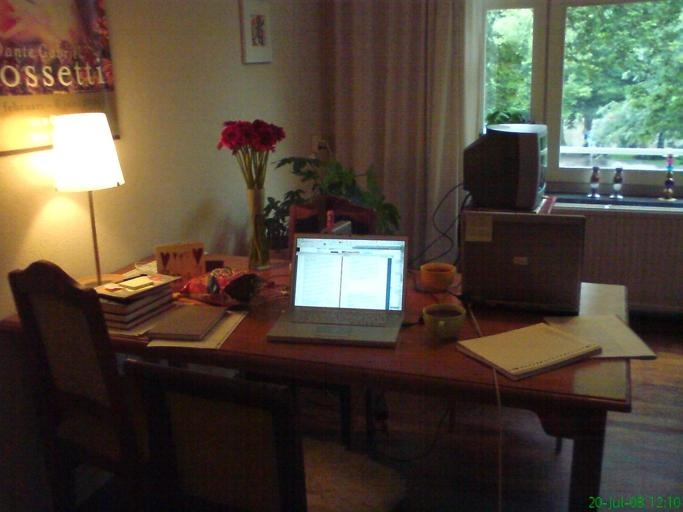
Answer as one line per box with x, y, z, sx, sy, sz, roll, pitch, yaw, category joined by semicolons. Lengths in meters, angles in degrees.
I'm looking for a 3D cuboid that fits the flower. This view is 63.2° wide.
-0.271;-0.319;1.751;0.212;0.204;0.215;0;-3;3;flower

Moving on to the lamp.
-0.738;-0.126;1.637;0.178;0.620;0.152;-15;38;-33;lamp

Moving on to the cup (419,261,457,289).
0.288;0.051;1.691;0.085;0.053;0.086;-2;15;1;cup

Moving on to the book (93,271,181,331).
-0.539;0.114;1.474;0.123;0.053;0.150;2;13;9;book

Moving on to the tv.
0.678;-0.380;2.427;0.359;0.378;0.373;1;19;13;tv

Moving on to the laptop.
0.006;0.078;1.372;0.328;0.271;0.209;2;12;11;laptop

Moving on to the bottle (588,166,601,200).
1.088;-0.314;2.391;0.038;0.140;0.142;5;17;22;bottle

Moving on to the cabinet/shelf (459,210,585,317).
0.459;-0.026;1.433;0.293;0.218;0.295;2;9;13;cabinet/shelf

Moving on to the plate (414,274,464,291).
0.284;0.074;1.688;0.081;0.036;0.077;3;11;22;plate
